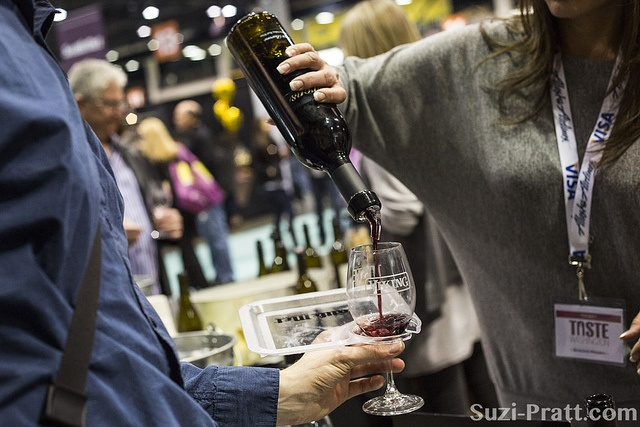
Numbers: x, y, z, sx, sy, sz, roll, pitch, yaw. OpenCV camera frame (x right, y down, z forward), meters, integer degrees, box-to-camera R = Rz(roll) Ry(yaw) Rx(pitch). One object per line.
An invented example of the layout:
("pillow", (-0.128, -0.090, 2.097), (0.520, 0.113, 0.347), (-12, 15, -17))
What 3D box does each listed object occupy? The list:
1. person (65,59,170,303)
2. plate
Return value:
("person", (-1.359, -0.052, 3.998), (0.480, 1.708, 0.473), (10, 24, -3))
("plate", (-0.034, 0.299, 1.797), (0.348, 0.051, 0.247), (-8, 17, -9))
